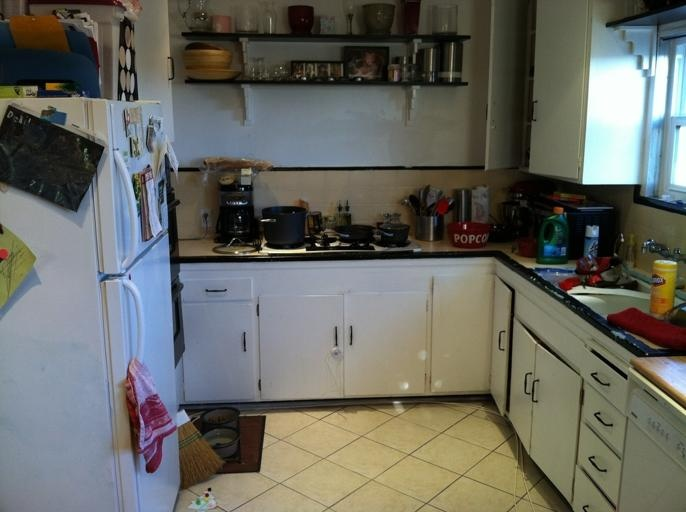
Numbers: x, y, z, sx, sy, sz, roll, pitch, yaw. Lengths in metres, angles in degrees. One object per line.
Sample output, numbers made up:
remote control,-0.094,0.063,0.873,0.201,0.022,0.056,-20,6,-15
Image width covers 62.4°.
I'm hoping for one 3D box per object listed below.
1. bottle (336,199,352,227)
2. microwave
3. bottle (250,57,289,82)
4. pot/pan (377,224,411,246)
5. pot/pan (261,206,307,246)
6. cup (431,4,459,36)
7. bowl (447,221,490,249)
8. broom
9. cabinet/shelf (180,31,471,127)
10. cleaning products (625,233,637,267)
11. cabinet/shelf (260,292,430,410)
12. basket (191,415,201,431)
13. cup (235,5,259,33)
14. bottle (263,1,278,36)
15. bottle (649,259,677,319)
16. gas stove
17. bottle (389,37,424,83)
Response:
bottle,0.009,-0.326,4.240,0.118,0.172,0.115,-2,12,0
microwave,1.511,-0.199,3.723,0.514,0.547,0.325,-2,11,1
bottle,-0.532,-1.318,3.990,0.327,0.243,0.137,1,18,-6
pot/pan,0.349,-0.142,3.896,0.209,0.142,0.142,-1,12,5
pot/pan,-0.406,-0.218,3.853,0.272,0.196,0.294,-1,7,-4
cup,0.721,-1.646,4.000,0.196,0.234,0.202,-1,14,0
bowl,0.887,-0.151,3.935,0.312,0.166,0.241,-2,12,3
broom,-0.809,1.074,3.147,0.264,0.399,0.179,-17,-14,-23
cabinet/shelf,-0.076,-1.395,4.030,1.968,0.413,0.242,-3,12,-4
cleaning products,1.677,-0.043,3.289,0.068,0.193,0.193,4,13,26
cabinet/shelf,0.006,0.552,4.059,1.185,0.761,0.688,-1,9,-6
basket,-0.938,1.053,3.618,0.083,0.092,0.079,0,11,-12
cup,-0.676,-1.659,3.962,0.144,0.220,0.202,-2,12,1
bottle,-0.511,-1.666,3.960,0.110,0.259,0.219,-3,12,-6
bottle,1.460,0.153,2.572,0.089,0.253,0.059,3,13,22
gas stove,0.059,-0.100,3.878,0.702,0.105,0.393,-2,11,-2
bottle,0.457,-1.379,4.052,0.335,0.363,0.201,2,8,7
